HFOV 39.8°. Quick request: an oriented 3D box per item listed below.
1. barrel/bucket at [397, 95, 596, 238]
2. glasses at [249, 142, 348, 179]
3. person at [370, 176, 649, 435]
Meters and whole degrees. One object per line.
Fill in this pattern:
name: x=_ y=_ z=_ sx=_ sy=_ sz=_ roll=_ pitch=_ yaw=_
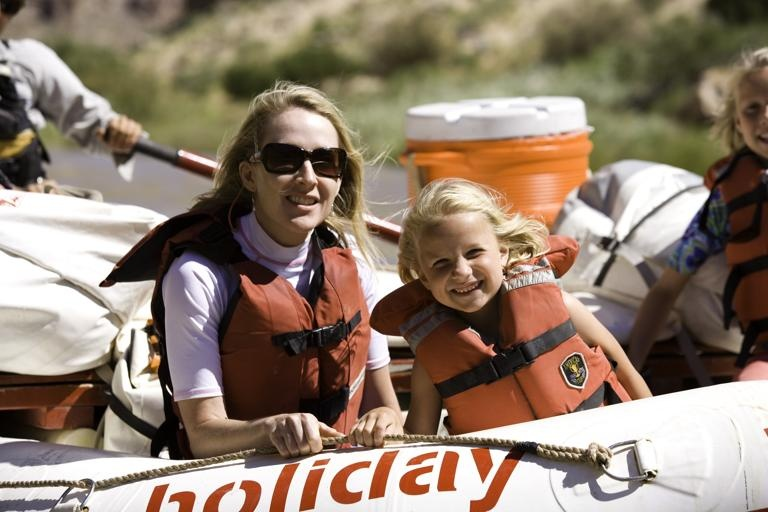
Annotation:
barrel/bucket: x=0.590 y=-0.559 z=5.597 sx=0.718 sy=0.825 sz=0.807 roll=0 pitch=5 yaw=33
glasses: x=-0.325 y=-0.386 z=4.288 sx=0.338 sy=0.138 sz=0.063 roll=-1 pitch=14 yaw=-10
person: x=0.447 y=0.260 z=4.320 sx=0.860 sy=1.232 sz=0.370 roll=-21 pitch=-1 yaw=-5
